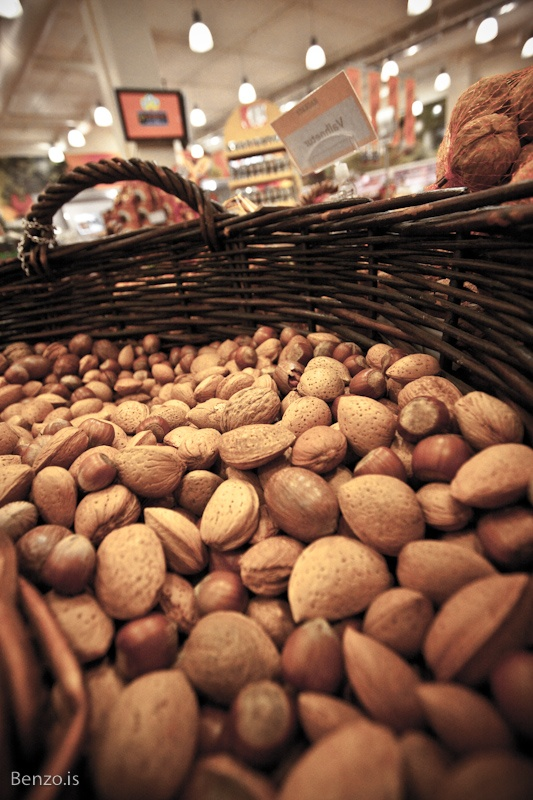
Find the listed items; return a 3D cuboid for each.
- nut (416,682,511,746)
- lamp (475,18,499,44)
[{"bbox_3d":[0.187,0.310,0.485,0.059,0.029,0.048,32,66,32],"label":"nut"},{"bbox_3d":[2.265,-3.914,5.263,0.173,0.205,0.394,0,26,29],"label":"lamp"}]
